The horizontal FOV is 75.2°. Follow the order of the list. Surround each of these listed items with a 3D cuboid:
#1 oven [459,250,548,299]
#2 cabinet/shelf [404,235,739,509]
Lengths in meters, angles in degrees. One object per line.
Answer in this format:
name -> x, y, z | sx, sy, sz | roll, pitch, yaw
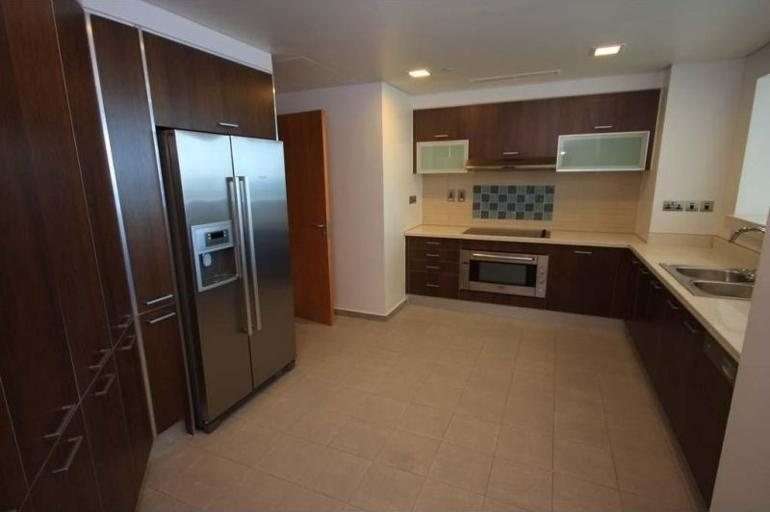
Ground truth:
oven -> 1.306, 0.215, 5.377 | 0.774, 0.425, 0.525 | 3, 7, 23
cabinet/shelf -> 1.537, 1.025, 4.698 | 1.672, 0.542, 1.922 | 6, 22, 18
